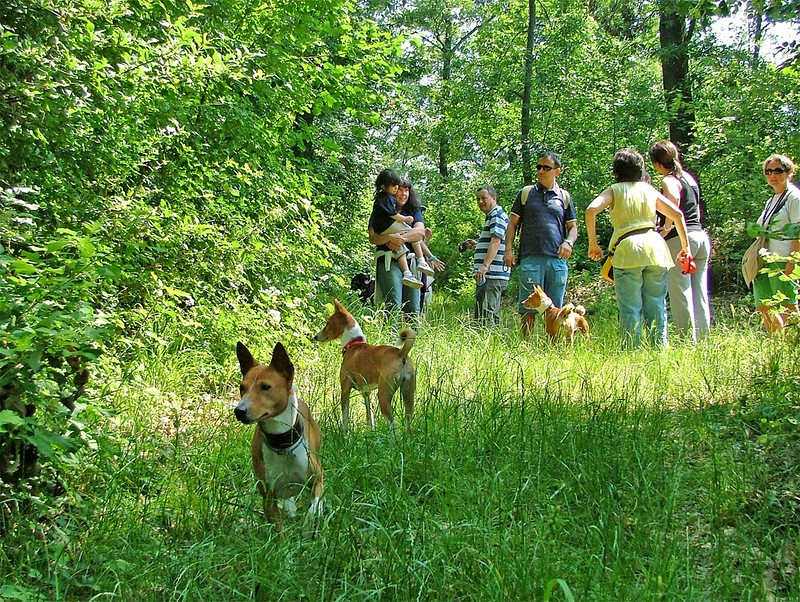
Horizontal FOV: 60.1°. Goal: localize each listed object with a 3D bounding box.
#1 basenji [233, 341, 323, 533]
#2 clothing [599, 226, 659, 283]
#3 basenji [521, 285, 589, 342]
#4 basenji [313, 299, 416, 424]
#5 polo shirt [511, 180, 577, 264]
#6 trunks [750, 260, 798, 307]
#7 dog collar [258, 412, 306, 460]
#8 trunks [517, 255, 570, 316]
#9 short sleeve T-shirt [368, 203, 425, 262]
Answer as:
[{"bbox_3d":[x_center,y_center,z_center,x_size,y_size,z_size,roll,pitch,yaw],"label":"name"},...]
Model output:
[{"bbox_3d":[-0.842,0.988,4.760,0.292,1.150,0.794,-10,38,-5],"label":"basenji"},{"bbox_3d":[2.735,-0.662,8.694,0.429,0.250,0.678,-3,-49,-19],"label":"clothing"},{"bbox_3d":[2.243,0.195,9.593,1.083,0.816,0.623,2,-5,-39],"label":"basenji"},{"bbox_3d":[-0.284,0.613,6.054,0.378,1.099,1.191,2,0,-43],"label":"basenji"},{"bbox_3d":[2.016,-1.088,9.687,0.907,1.144,0.635,4,-8,6],"label":"polo shirt"},{"bbox_3d":[3.550,-0.160,6.531,0.390,0.395,0.234,-7,-22,35],"label":"trunks"},{"bbox_3d":[-0.742,0.869,4.444,0.254,0.240,0.078,-1,-4,-14],"label":"dog collar"},{"bbox_3d":[2.050,-0.215,9.785,0.615,0.948,0.458,3,-26,7],"label":"trunks"},{"bbox_3d":[0.034,-0.925,9.538,0.735,0.368,0.767,-1,27,42],"label":"short sleeve T-shirt"}]
